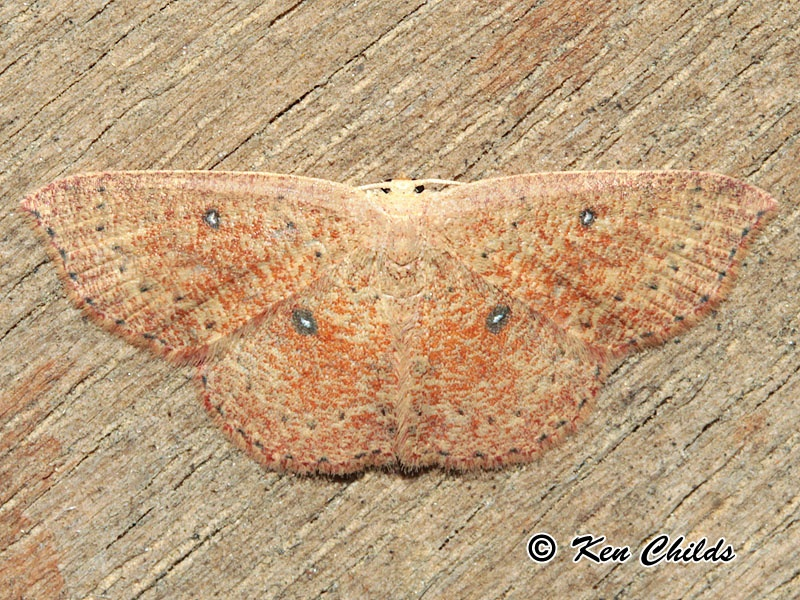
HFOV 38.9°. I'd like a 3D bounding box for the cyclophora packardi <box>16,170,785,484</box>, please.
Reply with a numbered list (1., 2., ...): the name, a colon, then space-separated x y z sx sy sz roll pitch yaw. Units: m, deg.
1. cyclophora packardi: -0.012 0.193 6.816 5.553 0.358 1.881 1 92 0
